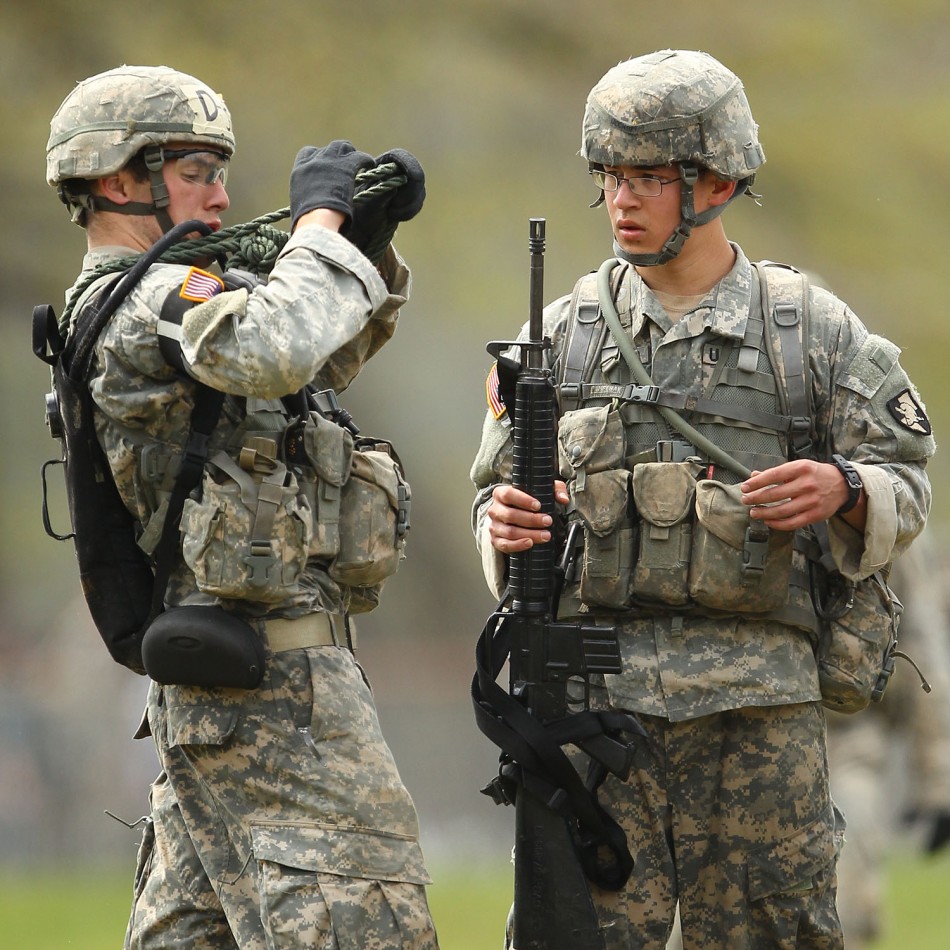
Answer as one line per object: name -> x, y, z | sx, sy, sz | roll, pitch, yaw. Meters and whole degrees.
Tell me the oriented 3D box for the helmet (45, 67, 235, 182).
helmet -> -0.908, -0.951, 6.566 | 0.353, 0.219, 0.359 | -5, 2, 8
